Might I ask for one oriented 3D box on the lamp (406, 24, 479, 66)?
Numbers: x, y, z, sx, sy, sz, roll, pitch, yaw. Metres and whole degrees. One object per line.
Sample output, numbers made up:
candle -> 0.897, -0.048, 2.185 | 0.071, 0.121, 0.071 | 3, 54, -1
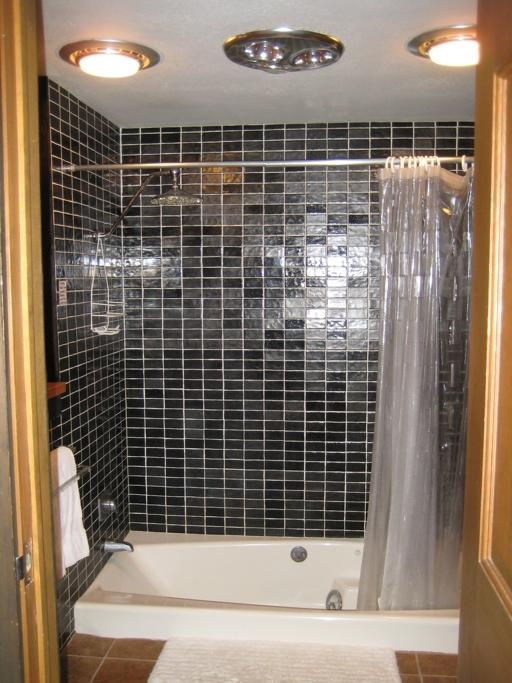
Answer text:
lamp -> 0.576, -0.897, 1.885 | 0.202, 0.049, 0.283 | -4, 4, 17

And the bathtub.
bathtub -> 0.032, 1.092, 2.587 | 1.397, 0.338, 0.772 | -4, 4, 9

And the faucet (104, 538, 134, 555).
faucet -> -0.591, 0.918, 2.690 | 0.137, 0.052, 0.079 | 2, -1, 0

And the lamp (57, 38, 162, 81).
lamp -> -0.463, -0.907, 1.956 | 0.311, 0.056, 0.247 | -6, 4, -17
